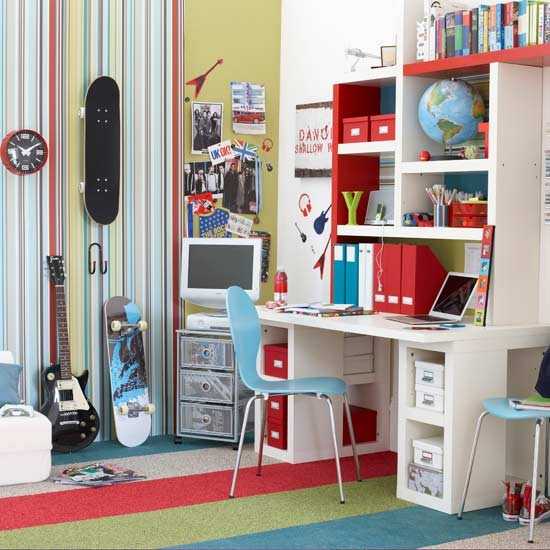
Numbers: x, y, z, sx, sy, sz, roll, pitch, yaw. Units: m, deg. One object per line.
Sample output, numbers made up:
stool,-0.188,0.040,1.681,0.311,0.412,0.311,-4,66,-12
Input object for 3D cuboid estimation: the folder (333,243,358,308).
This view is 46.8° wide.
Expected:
folder,0.394,-0.005,3.528,0.050,0.327,0.144,-2,6,-28

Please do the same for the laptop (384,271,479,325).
laptop,0.760,0.110,2.931,0.256,0.198,0.271,-1,0,-19

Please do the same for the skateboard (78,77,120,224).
skateboard,-1.022,-0.739,3.736,0.214,0.861,0.117,0,-1,-27

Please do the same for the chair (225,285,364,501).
chair,0.075,0.526,3.106,0.680,0.945,0.934,0,-1,8

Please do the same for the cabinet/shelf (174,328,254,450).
cabinet/shelf,-0.356,0.639,3.804,0.395,0.748,0.379,0,0,15

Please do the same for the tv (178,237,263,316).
tv,-0.315,-0.010,3.729,0.535,0.504,0.062,0,0,18

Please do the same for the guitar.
guitar,-1.179,0.448,3.588,0.331,1.135,0.131,-5,8,-30

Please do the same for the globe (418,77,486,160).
globe,0.871,-0.775,3.081,0.198,0.414,0.330,-7,11,-40

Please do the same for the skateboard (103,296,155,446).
skateboard,-0.884,0.550,3.801,0.237,0.909,0.117,6,-32,-31
